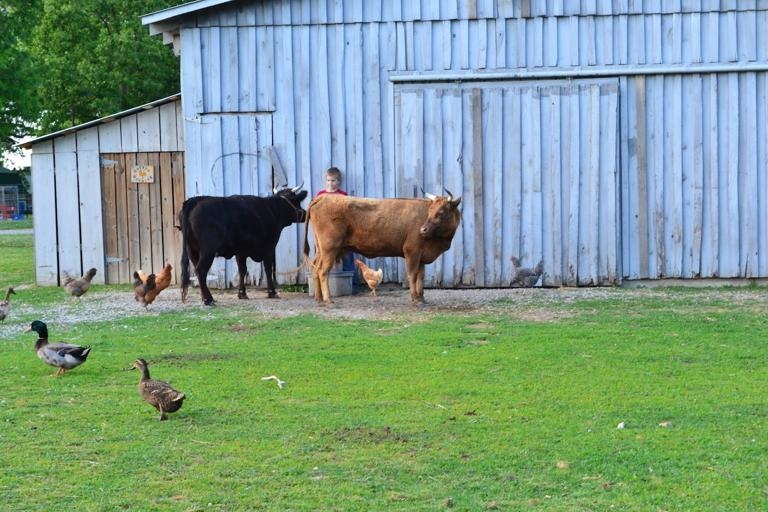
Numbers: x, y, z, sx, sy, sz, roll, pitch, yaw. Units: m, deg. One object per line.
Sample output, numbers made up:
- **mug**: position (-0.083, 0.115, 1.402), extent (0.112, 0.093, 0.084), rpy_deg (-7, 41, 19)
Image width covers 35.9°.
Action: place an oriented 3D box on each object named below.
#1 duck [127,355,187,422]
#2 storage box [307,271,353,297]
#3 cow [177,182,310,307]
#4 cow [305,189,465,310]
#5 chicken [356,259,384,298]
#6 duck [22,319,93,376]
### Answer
- **duck**: position (-3.105, 1.829, 16.287), extent (0.901, 0.838, 0.669), rpy_deg (-2, -12, 13)
- **storage box**: position (-0.893, 0.535, 22.751), extent (0.550, 0.367, 0.571), rpy_deg (1, 0, 12)
- **cow**: position (-2.697, -0.188, 22.310), extent (2.474, 2.019, 0.687), rpy_deg (-12, 18, -36)
- **cow**: position (-0.059, -0.472, 21.673), extent (3.730, 2.566, 1.986), rpy_deg (-3, -4, 16)
- **chicken**: position (-0.245, 0.326, 23.057), extent (0.317, 0.671, 0.897), rpy_deg (-13, 24, -28)
- **duck**: position (-4.940, 1.336, 17.602), extent (1.112, 0.934, 0.517), rpy_deg (6, -2, 7)
